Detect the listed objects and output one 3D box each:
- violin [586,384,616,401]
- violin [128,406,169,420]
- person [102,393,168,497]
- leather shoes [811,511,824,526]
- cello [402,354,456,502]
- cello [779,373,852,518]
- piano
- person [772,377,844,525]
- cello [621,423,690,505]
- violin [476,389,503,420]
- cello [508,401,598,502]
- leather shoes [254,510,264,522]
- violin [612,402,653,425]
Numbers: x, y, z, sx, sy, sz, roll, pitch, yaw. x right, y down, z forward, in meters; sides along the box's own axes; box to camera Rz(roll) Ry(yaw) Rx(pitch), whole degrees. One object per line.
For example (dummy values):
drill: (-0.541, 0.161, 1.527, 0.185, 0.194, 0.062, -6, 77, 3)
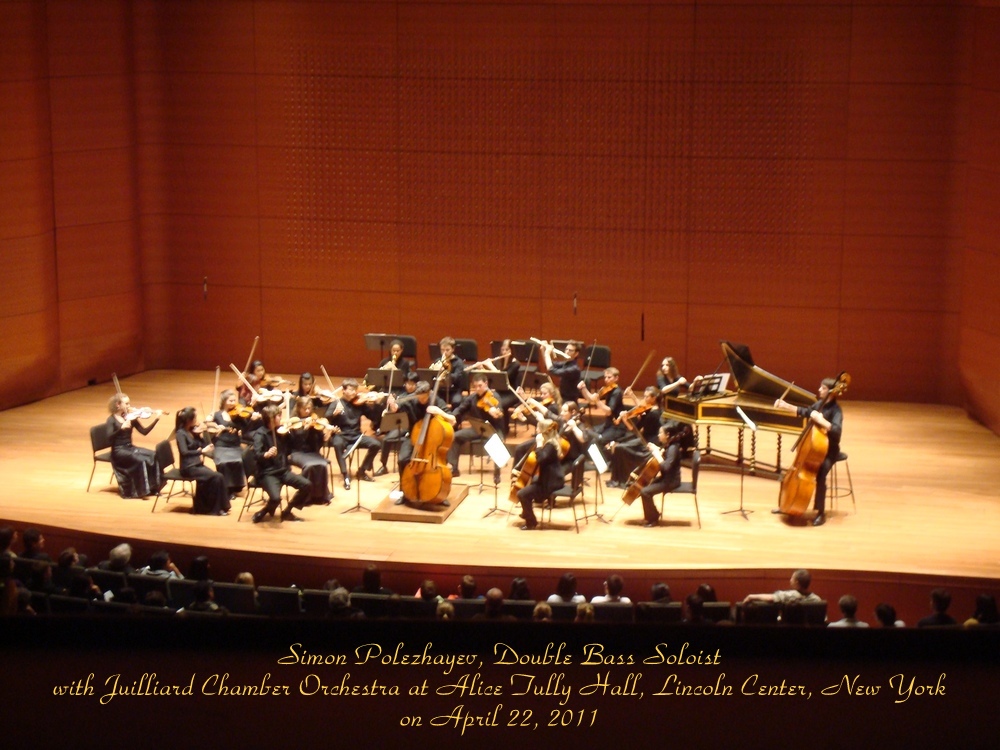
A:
violin: (1.164, 0.226, 10.292, 0.291, 0.079, 0.154, -15, 11, -20)
violin: (-4.019, 0.445, 10.481, 0.474, 0.077, 0.239, 6, 46, -2)
person: (-3.835, 0.755, 9.655, 0.571, 1.062, 0.439, -1, 8, 2)
leather shoes: (3.159, 1.434, 9.116, 0.083, 0.050, 0.150, -3, 30, 24)
cello: (-0.724, 0.614, 9.292, 0.388, 1.376, 0.369, 0, 10, 10)
cello: (3.067, 0.715, 9.191, 0.479, 1.440, 0.634, 13, 3, -14)
piano: (2.691, 0.309, 10.634, 1.684, 1.420, 1.338, 8, 17, 11)
person: (3.104, 0.755, 9.124, 0.479, 1.707, 0.536, -4, 10, -21)
cello: (1.559, 0.846, 8.912, 0.432, 1.023, 0.539, 24, 30, 8)
violin: (-0.113, 0.343, 10.177, 0.209, 0.374, 0.124, -41, -32, 8)
cello: (0.444, 0.683, 9.174, 0.639, 1.042, 0.590, -6, 9, -27)
leather shoes: (-2.377, 1.406, 9.065, 0.104, 0.108, 0.136, 5, -11, -16)
violin: (1.500, 0.394, 9.887, 0.192, 0.097, 0.362, -31, -5, 29)
